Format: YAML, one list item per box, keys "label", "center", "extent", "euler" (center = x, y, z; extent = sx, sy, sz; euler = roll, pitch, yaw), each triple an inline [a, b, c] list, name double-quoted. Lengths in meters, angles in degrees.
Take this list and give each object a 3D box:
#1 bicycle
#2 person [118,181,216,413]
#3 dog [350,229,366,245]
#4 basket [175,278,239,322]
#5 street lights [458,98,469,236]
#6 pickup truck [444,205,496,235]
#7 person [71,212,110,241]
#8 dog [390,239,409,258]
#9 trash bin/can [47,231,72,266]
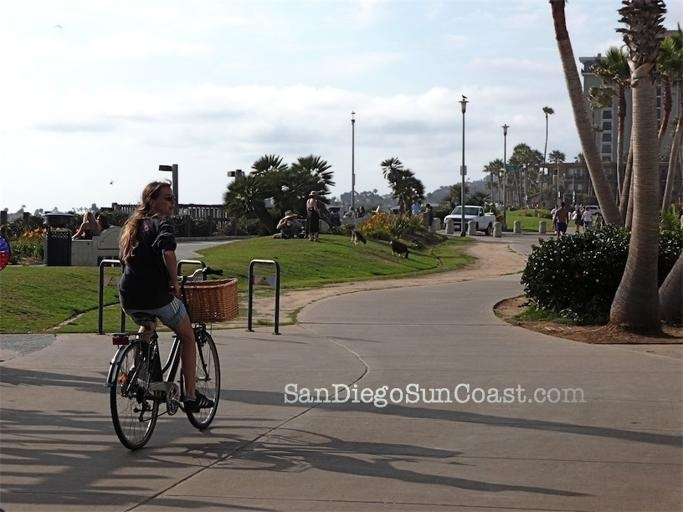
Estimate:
- label: "bicycle"
  center: [-2.274, 1.435, 13.053]
  extent: [1.067, 1.496, 2.281]
  euler: [1, 5, 20]
- label: "person"
  center: [-2.116, 0.509, 12.530]
  extent: [0.940, 2.658, 0.568]
  euler: [-1, 8, -8]
- label: "dog"
  center: [0.675, -0.704, 39.072]
  extent: [0.495, 0.505, 0.723]
  euler: [0, 8, -4]
- label: "basket"
  center: [-1.827, 0.586, 15.261]
  extent: [0.696, 0.436, 0.980]
  euler: [-4, 2, -11]
- label: "street lights"
  center: [6.444, -5.026, 55.176]
  extent: [0.904, 6.296, 0.907]
  euler: [0, 2, 13]
- label: "pickup truck"
  center: [6.992, -2.033, 57.392]
  extent: [1.464, 1.126, 2.595]
  euler: [-1, -2, 28]
- label: "person"
  center: [-7.001, -0.952, 29.680]
  extent: [0.887, 0.695, 2.274]
  euler: [-1, 9, -11]
- label: "dog"
  center: [2.131, -0.275, 37.930]
  extent: [0.602, 0.628, 0.962]
  euler: [1, 8, 4]
- label: "trash bin/can"
  center: [-7.661, -0.221, 28.804]
  extent: [0.684, 0.888, 0.599]
  euler: [-2, 9, -18]
